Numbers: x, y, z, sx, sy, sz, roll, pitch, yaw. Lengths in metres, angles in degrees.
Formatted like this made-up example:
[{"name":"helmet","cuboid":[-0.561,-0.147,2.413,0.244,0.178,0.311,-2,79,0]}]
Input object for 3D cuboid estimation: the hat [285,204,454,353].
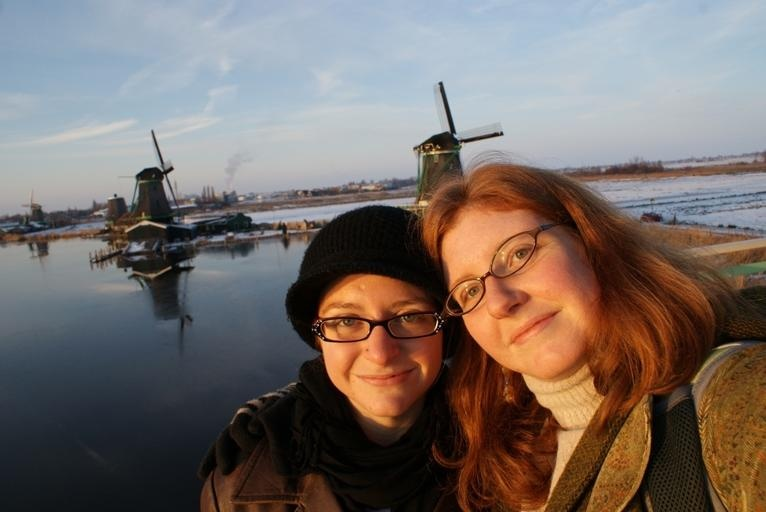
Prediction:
[{"name":"hat","cuboid":[-0.056,-0.018,2.877,0.781,0.418,0.634,6,-10,-23]}]
